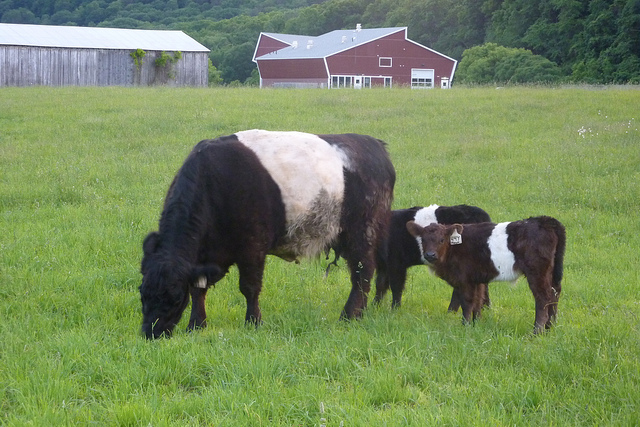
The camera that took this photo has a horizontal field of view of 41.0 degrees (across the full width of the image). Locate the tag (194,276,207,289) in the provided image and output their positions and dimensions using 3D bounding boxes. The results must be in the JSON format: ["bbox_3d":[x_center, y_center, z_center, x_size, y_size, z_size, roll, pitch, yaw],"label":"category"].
[{"bbox_3d":[-3.039,1.734,21.753,0.326,0.361,0.189,-2,13,-14],"label":"tag"}]

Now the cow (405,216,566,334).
[{"bbox_3d":[4.445,1.558,22.851,3.836,3.346,1.706,2,9,23],"label":"cow"}]

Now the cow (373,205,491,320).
[{"bbox_3d":[3.598,1.057,23.720,0.984,2.695,4.558,-1,8,22],"label":"cow"}]

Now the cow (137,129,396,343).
[{"bbox_3d":[-1.354,0.481,22.102,6.302,4.829,1.454,-2,13,-16],"label":"cow"}]
